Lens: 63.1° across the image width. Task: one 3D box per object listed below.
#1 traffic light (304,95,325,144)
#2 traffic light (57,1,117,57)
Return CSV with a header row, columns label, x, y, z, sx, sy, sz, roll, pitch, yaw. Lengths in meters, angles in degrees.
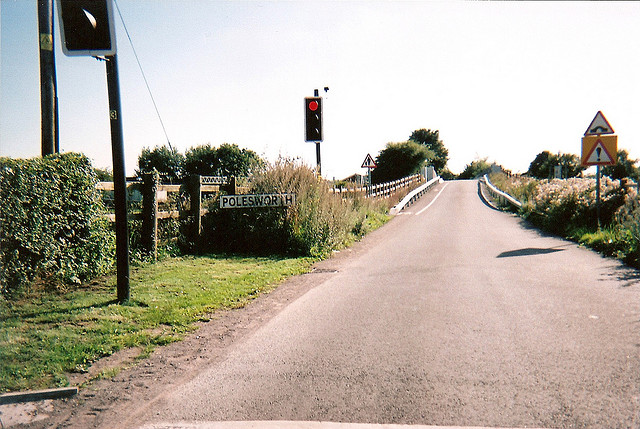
label,x,y,z,sx,sy,sz,roll,pitch,yaw
traffic light,-0.224,-3.145,17.560,0.631,1.807,0.167,-1,-21,-2
traffic light,-4.400,-3.500,9.792,0.983,1.008,0.252,-1,5,1
